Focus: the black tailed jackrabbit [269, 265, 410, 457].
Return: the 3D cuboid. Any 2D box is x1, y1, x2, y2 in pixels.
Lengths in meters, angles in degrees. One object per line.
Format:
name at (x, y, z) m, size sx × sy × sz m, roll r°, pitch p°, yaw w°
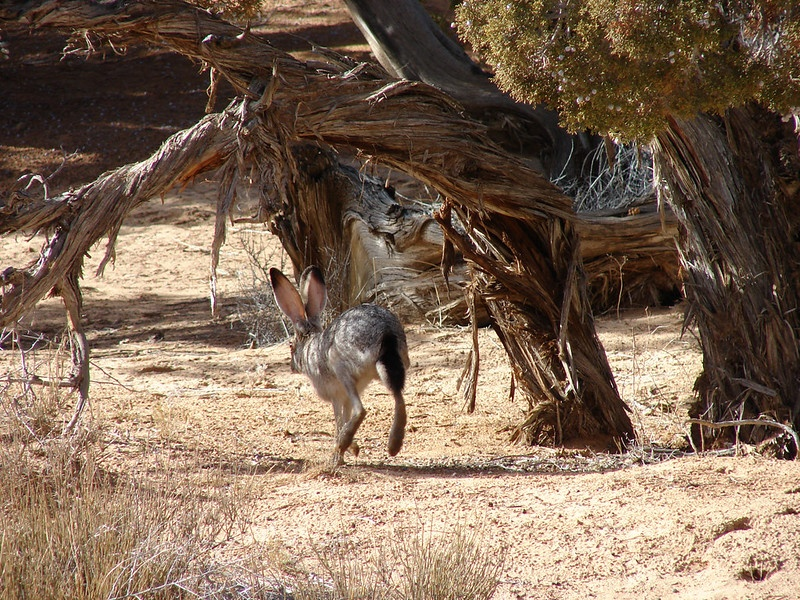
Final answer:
black tailed jackrabbit at (-0.424, 0.463, 9.535) m, size 0.860 × 1.431 × 1.716 m, roll -5°, pitch 4°, yaw -10°
